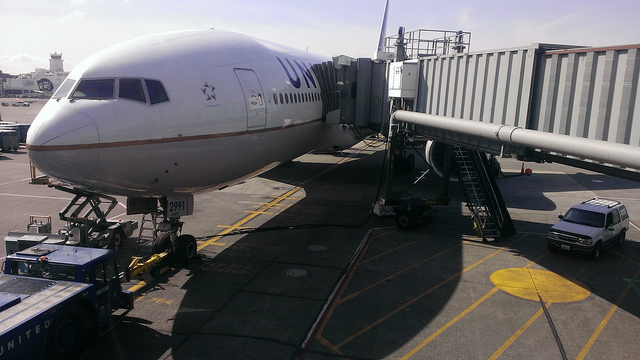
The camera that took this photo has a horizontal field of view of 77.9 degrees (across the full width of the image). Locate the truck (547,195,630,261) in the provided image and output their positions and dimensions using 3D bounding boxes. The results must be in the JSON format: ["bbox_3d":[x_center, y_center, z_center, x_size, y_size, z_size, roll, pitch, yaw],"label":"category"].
[{"bbox_3d":[16.180,2.641,23.696,5.971,2.008,3.257,-14,21,-37],"label":"truck"}]

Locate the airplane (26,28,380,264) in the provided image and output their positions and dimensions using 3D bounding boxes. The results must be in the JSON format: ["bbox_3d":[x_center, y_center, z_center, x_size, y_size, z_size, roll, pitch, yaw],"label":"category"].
[{"bbox_3d":[-5.986,-2.961,20.038,4.034,9.324,13.474,10,20,38],"label":"airplane"}]

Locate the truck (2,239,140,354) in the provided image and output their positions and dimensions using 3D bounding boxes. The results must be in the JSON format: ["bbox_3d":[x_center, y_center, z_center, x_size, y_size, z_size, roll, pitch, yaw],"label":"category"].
[{"bbox_3d":[-10.224,4.667,15.568,4.021,1.947,4.992,5,11,22],"label":"truck"}]

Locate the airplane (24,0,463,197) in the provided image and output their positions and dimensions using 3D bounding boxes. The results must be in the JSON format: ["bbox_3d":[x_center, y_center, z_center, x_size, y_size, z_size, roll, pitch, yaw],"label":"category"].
[{"bbox_3d":[-6.277,-3.045,22.759,16.039,6.127,16.905,9,12,38],"label":"airplane"}]
